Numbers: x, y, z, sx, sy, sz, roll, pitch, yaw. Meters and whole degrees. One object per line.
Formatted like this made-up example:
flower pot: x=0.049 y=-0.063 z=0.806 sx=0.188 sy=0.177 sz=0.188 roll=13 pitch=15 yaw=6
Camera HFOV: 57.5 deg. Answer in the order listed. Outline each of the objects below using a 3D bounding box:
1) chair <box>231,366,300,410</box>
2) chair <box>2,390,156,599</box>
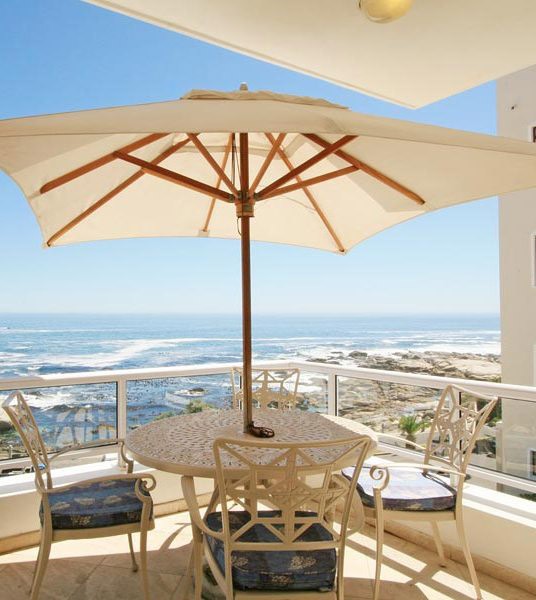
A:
chair: x=0.002 y=0.626 z=3.472 sx=0.522 sy=0.322 sz=0.282 roll=-1 pitch=-1 yaw=-6
chair: x=-0.794 y=0.875 z=2.089 sx=0.583 sy=0.961 sz=0.730 roll=-1 pitch=-1 yaw=-14
